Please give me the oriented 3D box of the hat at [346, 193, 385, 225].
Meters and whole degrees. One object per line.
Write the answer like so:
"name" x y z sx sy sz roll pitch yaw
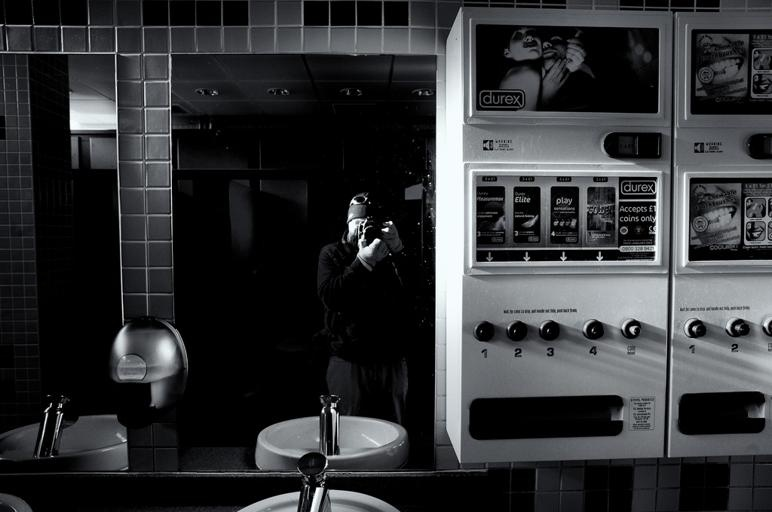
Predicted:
"hat" -0.077 -0.173 2.946 0.133 0.107 0.096 -7 6 -3

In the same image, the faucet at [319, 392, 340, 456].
"faucet" -0.205 0.613 2.912 0.071 0.210 0.032 2 2 -1

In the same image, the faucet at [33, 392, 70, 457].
"faucet" -1.226 0.623 2.958 0.112 0.233 0.030 2 2 -1
